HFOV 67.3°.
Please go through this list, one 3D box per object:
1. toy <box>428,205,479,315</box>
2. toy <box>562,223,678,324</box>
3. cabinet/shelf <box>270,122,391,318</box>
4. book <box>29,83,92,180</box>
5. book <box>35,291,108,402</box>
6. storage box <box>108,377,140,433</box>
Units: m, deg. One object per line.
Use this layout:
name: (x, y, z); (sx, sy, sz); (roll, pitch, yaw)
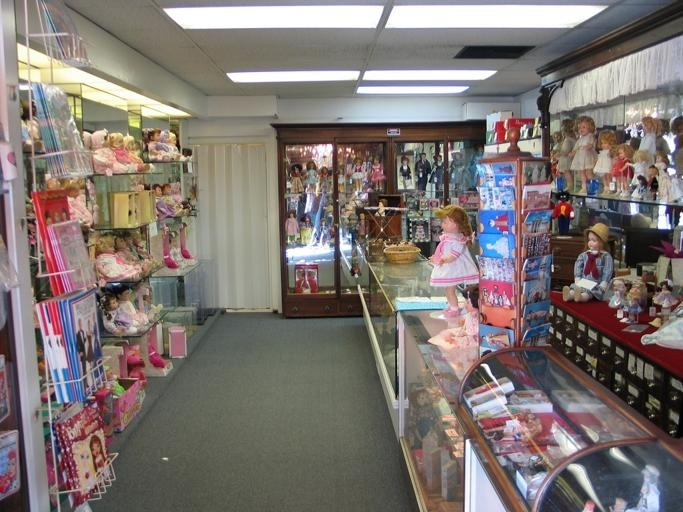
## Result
toy: (0.665, 0.009, 3.012); (0.270, 0.603, 0.373); (1, 10, 11)
toy: (2.130, 0.032, 4.043); (0.620, 0.806, 0.752); (-1, 6, -30)
cabinet/shelf: (-0.115, -0.514, 7.573); (1.547, 2.836, 0.694); (-1, 18, -2)
book: (-1.183, -0.524, 2.160); (0.177, 0.379, 0.369); (-3, 10, -14)
book: (-1.123, 0.388, 2.147); (0.181, 0.487, 0.295); (-3, 10, -14)
storage box: (-1.746, 1.190, 4.095); (0.252, 0.227, 0.482); (0, 9, -7)
